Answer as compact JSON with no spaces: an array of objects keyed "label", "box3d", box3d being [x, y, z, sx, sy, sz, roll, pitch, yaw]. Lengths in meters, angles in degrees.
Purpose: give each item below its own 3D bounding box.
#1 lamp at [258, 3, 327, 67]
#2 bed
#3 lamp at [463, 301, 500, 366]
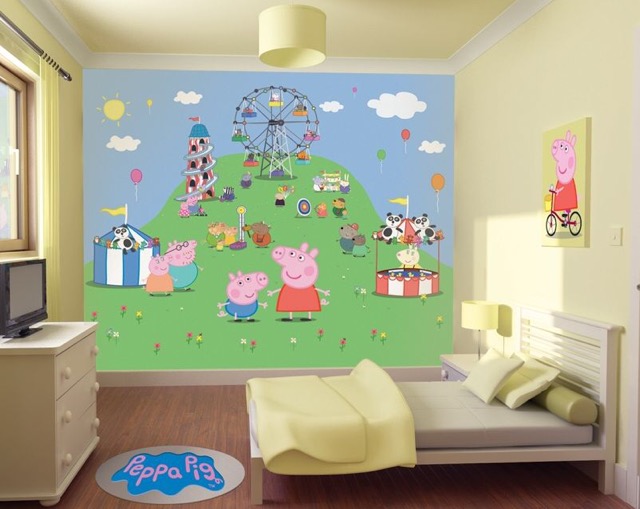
[{"label":"lamp","box3d":[-0.195,-1.522,3.611,0.432,0.314,0.476,0,3,-2]},{"label":"bed","box3d":[0.736,1.102,3.401,1.592,0.877,1.372,-1,2,-5]},{"label":"lamp","box3d":[1.366,0.686,4.145,0.265,0.687,0.259,-13,19,-20]}]
